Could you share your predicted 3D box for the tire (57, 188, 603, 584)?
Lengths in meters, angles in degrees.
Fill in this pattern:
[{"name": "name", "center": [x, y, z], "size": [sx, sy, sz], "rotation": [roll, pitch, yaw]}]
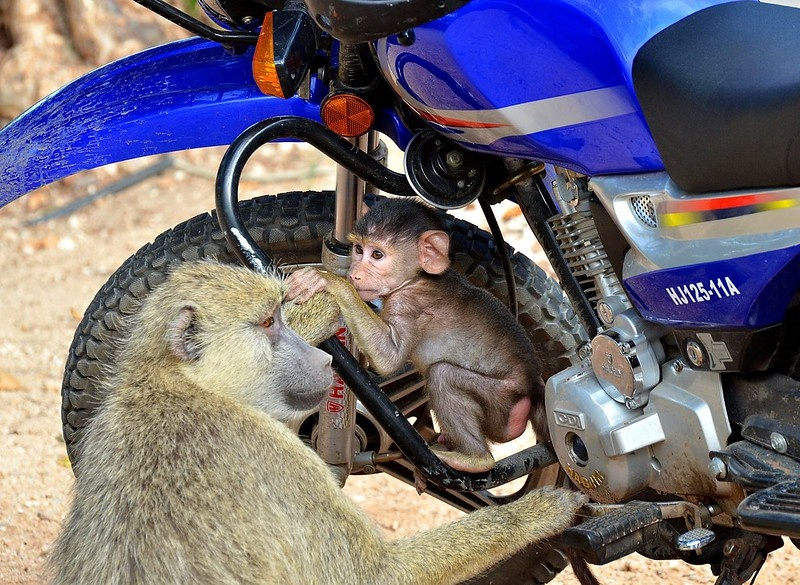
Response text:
[{"name": "tire", "center": [-0.148, 0.280, 2.397], "size": [1.131, 1.384, 0.181], "rotation": [-1, 0, -7]}]
